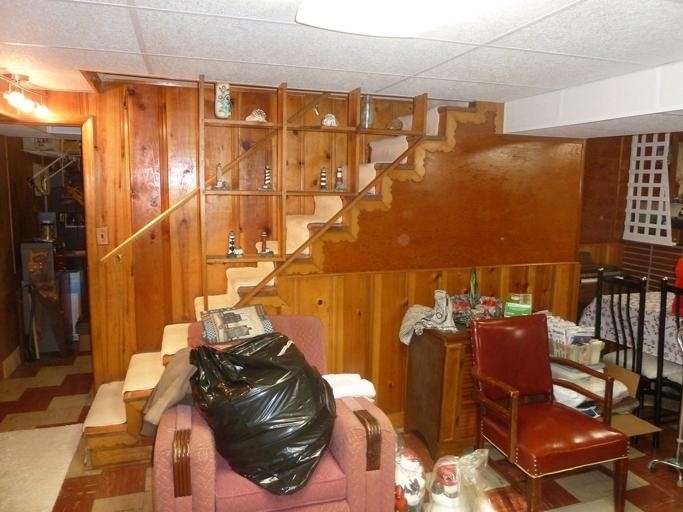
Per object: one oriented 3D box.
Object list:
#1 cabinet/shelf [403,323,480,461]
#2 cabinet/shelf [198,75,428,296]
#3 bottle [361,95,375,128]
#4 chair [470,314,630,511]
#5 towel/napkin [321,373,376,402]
[{"bbox_3d":[0.763,1.057,4.183,0.637,0.986,0.378,4,11,25],"label":"cabinet/shelf"},{"bbox_3d":[-0.250,-0.589,4.472,2.124,1.636,0.624,-3,12,-20],"label":"cabinet/shelf"},{"bbox_3d":[0.202,-1.158,4.295,0.099,0.281,0.223,0,9,5],"label":"bottle"},{"bbox_3d":[1.423,1.093,3.655,0.841,1.231,0.797,-4,10,-18],"label":"chair"},{"bbox_3d":[0.072,0.866,3.478,0.243,0.059,0.219,0,7,-19],"label":"towel/napkin"}]
